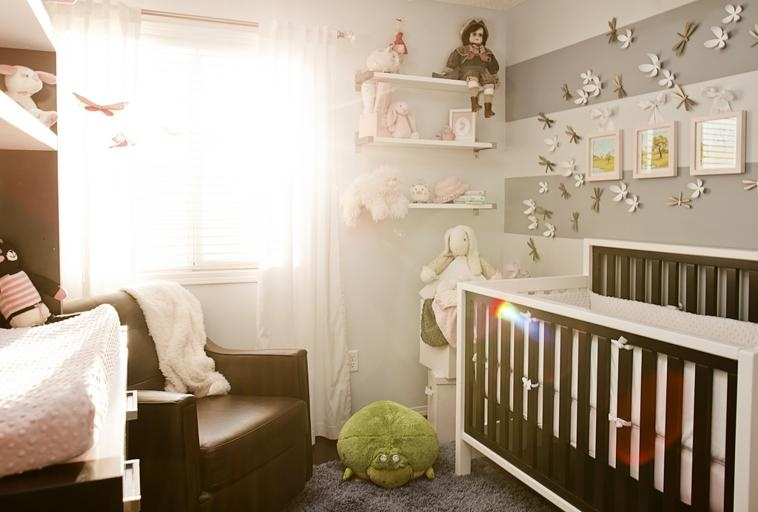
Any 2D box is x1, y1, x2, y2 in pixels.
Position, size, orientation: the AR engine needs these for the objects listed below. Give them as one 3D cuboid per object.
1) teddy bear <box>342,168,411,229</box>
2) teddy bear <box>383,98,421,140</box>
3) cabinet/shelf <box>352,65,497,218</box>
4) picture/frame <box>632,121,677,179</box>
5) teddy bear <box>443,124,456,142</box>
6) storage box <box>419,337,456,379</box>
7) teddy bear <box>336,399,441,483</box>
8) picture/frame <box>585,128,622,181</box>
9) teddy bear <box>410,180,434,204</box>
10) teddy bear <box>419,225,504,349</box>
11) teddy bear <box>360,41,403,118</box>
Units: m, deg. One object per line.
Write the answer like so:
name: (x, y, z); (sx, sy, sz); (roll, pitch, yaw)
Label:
teddy bear: (-0.088, -0.358, 3.261); (0.318, 0.179, 0.232); (39, 60, 14)
teddy bear: (0.147, -0.867, 3.410); (0.198, 0.228, 0.246); (6, 20, 16)
cabinet/shelf: (0.264, -0.768, 3.457); (0.976, 0.954, 0.323); (2, -4, -26)
picture/frame: (1.472, -0.563, 2.807); (0.026, 0.381, 0.318); (3, -3, -23)
teddy bear: (0.461, -0.813, 3.503); (0.076, 0.098, 0.097); (-1, 22, 2)
storage box: (0.365, 0.644, 3.283); (0.169, 0.209, 0.320); (1, -3, -14)
teddy bear: (0.058, 1.014, 2.945); (0.524, 0.192, 0.624); (0, 17, 0)
picture/frame: (1.313, -0.590, 3.068); (0.035, 0.384, 0.321); (2, -2, -23)
teddy bear: (0.290, -0.417, 3.534); (0.124, 0.142, 0.162); (-1, -13, 4)
teddy bear: (0.507, 0.215, 3.354); (0.497, 0.814, 0.402); (14, 21, 30)
teddy bear: (0.012, -1.139, 3.348); (0.248, 0.513, 0.215); (5, 5, -37)
